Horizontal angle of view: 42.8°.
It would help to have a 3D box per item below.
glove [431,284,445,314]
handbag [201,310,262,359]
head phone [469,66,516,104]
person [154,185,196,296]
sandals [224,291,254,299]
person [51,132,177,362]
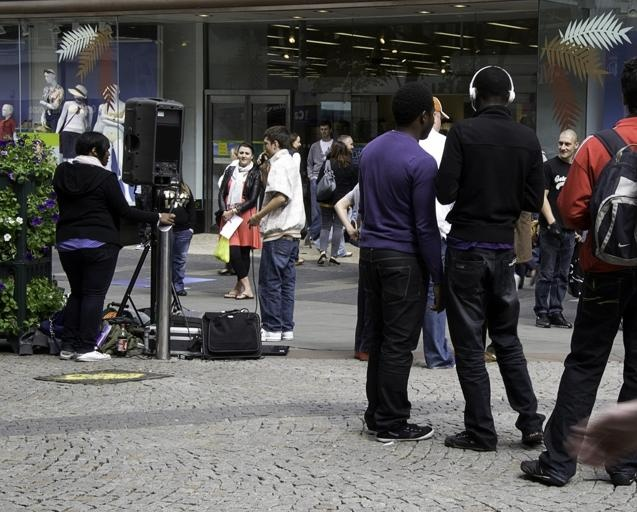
[{"bbox_3d":[0.785,0.260,5.324,0.063,0.150,0.120,7,20,3],"label":"glove"},{"bbox_3d":[-0.782,0.774,7.900,0.817,0.601,0.404,0,-11,-2],"label":"handbag"},{"bbox_3d":[1.104,-1.077,5.180,0.284,0.213,0.264,0,-1,1],"label":"head phone"},{"bbox_3d":[-1.973,-0.225,10.751,0.669,1.493,0.555,3,15,-3],"label":"person"},{"bbox_3d":[-1.037,0.504,10.953,0.175,0.068,0.240,-3,-7,31],"label":"sandals"},{"bbox_3d":[-2.152,-0.113,8.044,1.000,2.076,1.126,3,4,44],"label":"person"}]
